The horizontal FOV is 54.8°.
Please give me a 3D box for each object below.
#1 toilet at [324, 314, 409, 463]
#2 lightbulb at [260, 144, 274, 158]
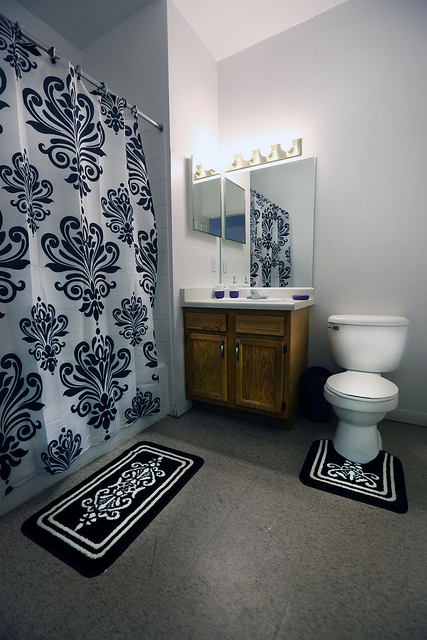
[{"bbox_3d":[0.739,0.330,2.053,0.321,0.658,0.555,4,12,22],"label":"toilet"},{"bbox_3d":[0.344,-1.096,2.671,0.033,0.085,0.115,-9,17,-34],"label":"lightbulb"}]
